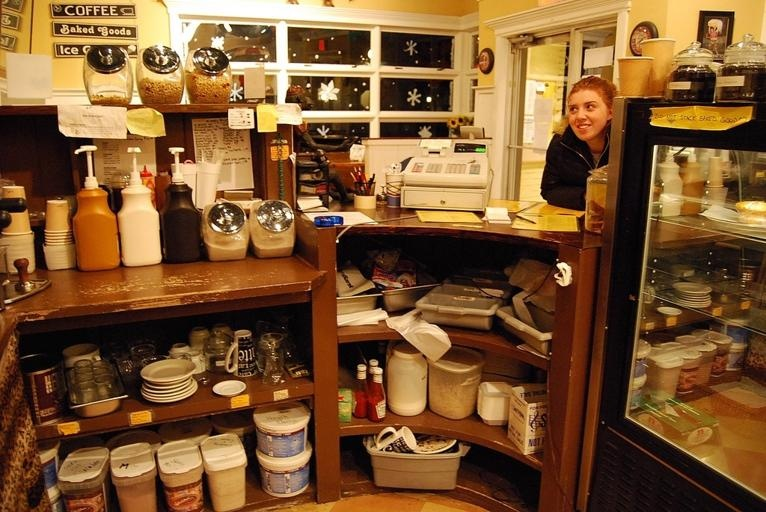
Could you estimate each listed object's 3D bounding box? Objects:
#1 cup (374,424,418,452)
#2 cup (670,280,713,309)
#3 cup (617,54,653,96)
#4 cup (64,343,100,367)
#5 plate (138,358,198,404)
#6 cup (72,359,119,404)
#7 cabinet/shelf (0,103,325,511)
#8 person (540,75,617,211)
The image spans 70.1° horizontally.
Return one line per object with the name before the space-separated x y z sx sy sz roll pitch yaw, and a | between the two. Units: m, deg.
cup | 0.070 0.918 2.728 0.200 0.181 0.112 -9 20 2
cup | 1.298 0.162 2.281 0.108 0.048 0.120 0 10 8
cup | 1.028 -0.731 2.229 0.173 0.150 0.159 1 13 0
cup | -1.395 0.447 2.525 0.119 0.071 0.113 5 7 -1
plate | -0.974 0.568 2.499 0.234 0.139 0.216 -4 14 -8
cup | -1.273 0.546 2.412 0.200 0.135 0.254 -9 15 -26
cabinet/shelf | -0.862 0.579 2.586 1.286 1.381 0.560 -8 15 -23
person | 1.090 -0.650 3.066 0.387 0.716 0.577 3 15 19
